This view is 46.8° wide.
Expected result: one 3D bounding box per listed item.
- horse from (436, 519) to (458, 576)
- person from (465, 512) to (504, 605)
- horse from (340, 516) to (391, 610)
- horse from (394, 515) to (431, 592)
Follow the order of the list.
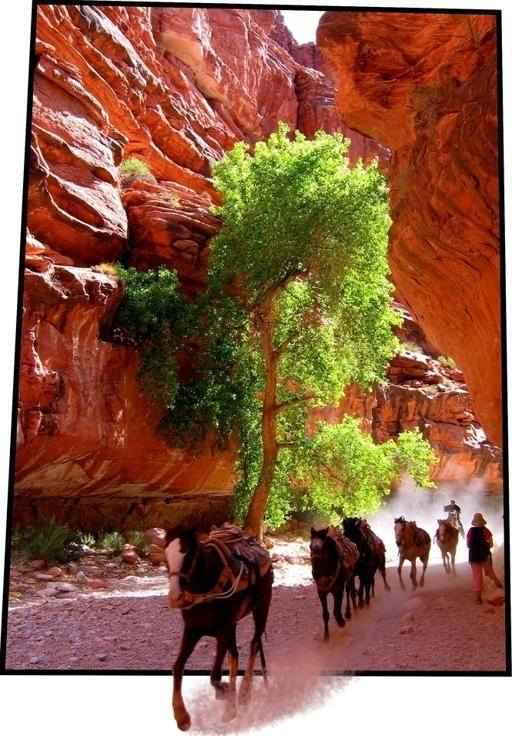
[{"bbox_3d":[4.292,3.953,13.135,0.533,1.159,1.775,-8,-22,22],"label":"horse"},{"bbox_3d":[3.334,2.726,8.659,0.441,1.222,0.899,-1,-7,20],"label":"person"},{"bbox_3d":[1.906,3.266,10.358,0.583,1.262,2.228,-6,-5,24],"label":"horse"},{"bbox_3d":[2.987,3.477,11.295,0.450,1.199,1.939,-7,-19,29],"label":"horse"}]
